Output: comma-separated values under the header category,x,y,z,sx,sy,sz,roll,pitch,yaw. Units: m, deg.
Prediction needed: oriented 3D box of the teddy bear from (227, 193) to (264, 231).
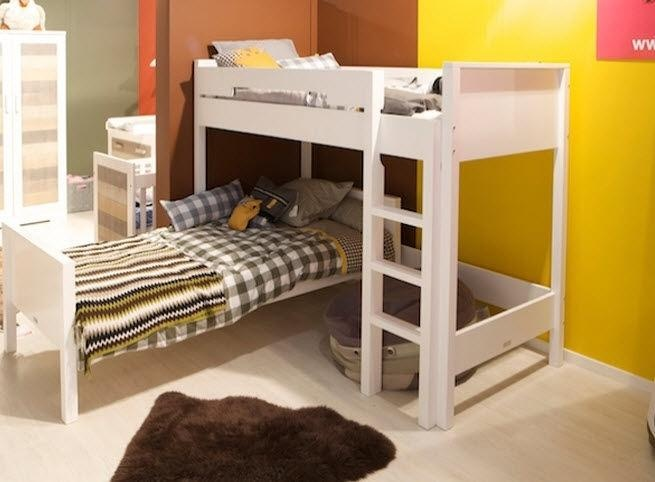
category,x,y,z,sx,sy,sz,roll,pitch,yaw
teddy bear,-0.586,-0.188,3.978,0.143,0.273,0.149,36,-11,16
